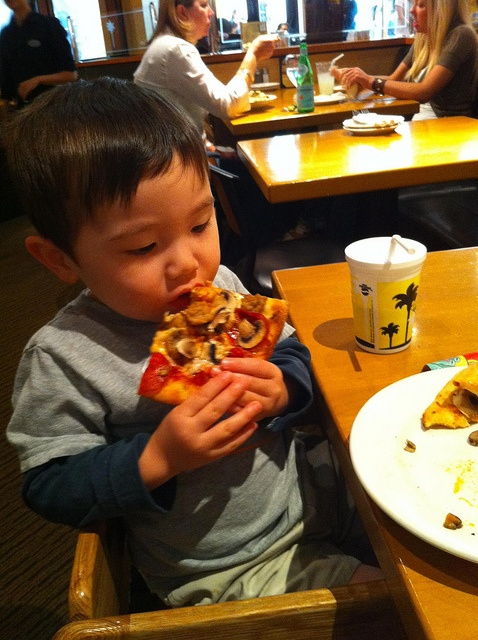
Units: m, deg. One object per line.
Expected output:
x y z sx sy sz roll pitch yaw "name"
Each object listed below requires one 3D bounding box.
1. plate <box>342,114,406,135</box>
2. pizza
0.608 -0.889 2.294 0.181 0.040 0.169 -7 35 -5 "plate"
-0.039 0.022 0.668 0.233 0.112 0.075 -23 34 -27 "pizza"
